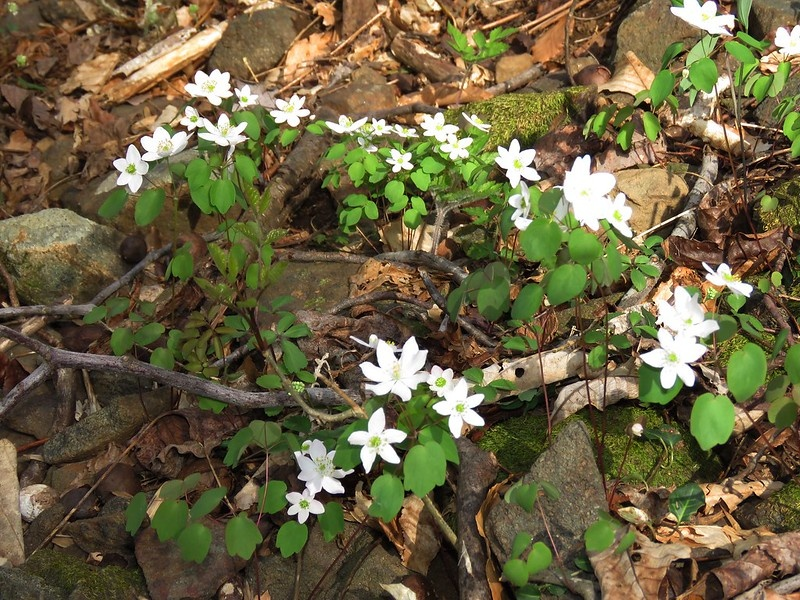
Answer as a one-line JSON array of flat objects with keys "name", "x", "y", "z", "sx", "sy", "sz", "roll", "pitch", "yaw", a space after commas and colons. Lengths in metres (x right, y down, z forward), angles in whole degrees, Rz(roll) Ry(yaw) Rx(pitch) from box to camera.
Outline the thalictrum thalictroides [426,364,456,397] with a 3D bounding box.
[{"name": "thalictrum thalictroides", "x": 0.230, "y": 0.460, "z": 3.958, "sx": 0.147, "sy": 0.172, "sz": 0.082, "roll": -2, "pitch": -11, "yaw": -4}]

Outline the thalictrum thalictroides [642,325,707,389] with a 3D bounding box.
[{"name": "thalictrum thalictroides", "x": 1.438, "y": 0.308, "z": 3.697, "sx": 0.304, "sy": 0.258, "sz": 0.182, "roll": 19, "pitch": -35, "yaw": 8}]

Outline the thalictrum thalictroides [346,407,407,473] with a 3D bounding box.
[{"name": "thalictrum thalictroides", "x": -0.138, "y": 0.810, "z": 3.884, "sx": 0.309, "sy": 0.315, "sz": 0.324, "roll": 21, "pitch": -35, "yaw": 5}]

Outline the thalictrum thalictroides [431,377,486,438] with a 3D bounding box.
[{"name": "thalictrum thalictroides", "x": 0.340, "y": 0.599, "z": 3.912, "sx": 0.268, "sy": 0.316, "sz": 0.229, "roll": 9, "pitch": -37, "yaw": 21}]

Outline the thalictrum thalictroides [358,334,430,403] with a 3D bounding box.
[{"name": "thalictrum thalictroides", "x": -0.021, "y": 0.374, "z": 3.906, "sx": 0.206, "sy": 0.093, "sz": 0.262, "roll": 23, "pitch": -29, "yaw": 35}]
